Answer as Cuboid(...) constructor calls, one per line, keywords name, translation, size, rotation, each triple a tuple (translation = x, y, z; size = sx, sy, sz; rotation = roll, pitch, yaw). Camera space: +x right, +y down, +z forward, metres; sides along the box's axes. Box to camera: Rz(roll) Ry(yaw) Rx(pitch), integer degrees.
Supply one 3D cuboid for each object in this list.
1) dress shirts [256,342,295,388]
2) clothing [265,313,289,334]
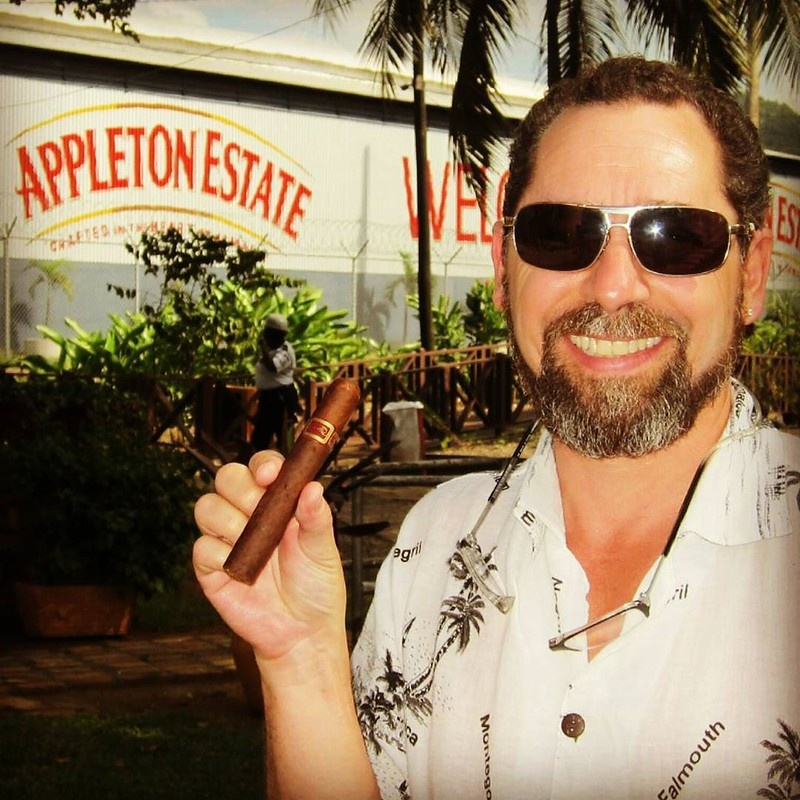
Cuboid(name="dress shirts", translation=(-1.225, -0.442, 9.467), size=(0.344, 0.523, 0.611), rotation=(0, 3, 4))
Cuboid(name="clothing", translation=(-1.206, -0.863, 9.270), size=(0.197, 0.096, 0.159), rotation=(14, 26, -50))
